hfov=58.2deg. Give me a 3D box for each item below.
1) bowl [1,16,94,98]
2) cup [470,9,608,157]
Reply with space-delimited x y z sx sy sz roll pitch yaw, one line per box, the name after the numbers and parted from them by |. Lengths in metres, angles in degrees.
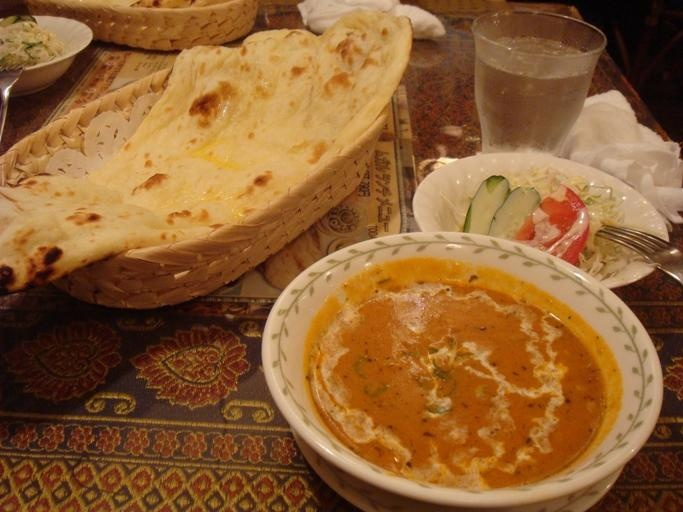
-1.170 -0.856 2.536 0.421 0.143 0.379 -3 48 -1 | bowl
0.622 -0.576 1.979 0.396 0.402 0.435 -3 66 8 | cup
